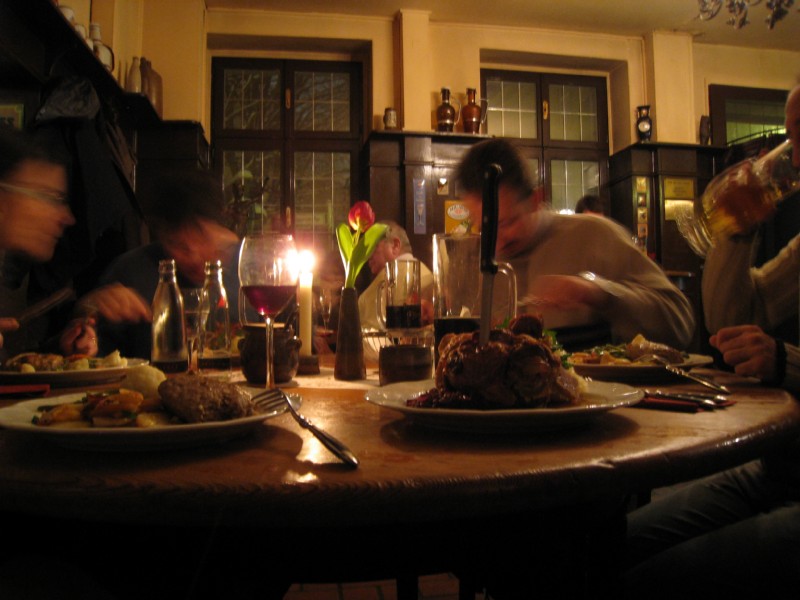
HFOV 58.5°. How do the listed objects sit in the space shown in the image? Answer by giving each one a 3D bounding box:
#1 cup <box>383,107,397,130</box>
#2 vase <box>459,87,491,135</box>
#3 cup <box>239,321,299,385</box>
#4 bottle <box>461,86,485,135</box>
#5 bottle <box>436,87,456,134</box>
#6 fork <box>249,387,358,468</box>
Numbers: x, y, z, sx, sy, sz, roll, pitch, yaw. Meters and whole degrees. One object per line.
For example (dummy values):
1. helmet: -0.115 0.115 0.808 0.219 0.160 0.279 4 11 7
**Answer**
1. cup: -0.073 -1.458 5.755 0.116 0.178 0.224 -1 11 -1
2. vase: 0.641 -1.583 5.978 0.200 0.352 0.194 -23 22 -33
3. cup: -0.309 0.133 1.770 0.164 0.146 0.129 -1 -1 -19
4. bottle: 0.602 -1.570 5.952 0.184 0.380 0.271 1 10 9
5. bottle: 0.383 -1.565 5.896 0.170 0.360 0.343 0 11 3
6. fork: -0.174 0.195 1.245 0.078 0.056 0.392 -14 16 -23
